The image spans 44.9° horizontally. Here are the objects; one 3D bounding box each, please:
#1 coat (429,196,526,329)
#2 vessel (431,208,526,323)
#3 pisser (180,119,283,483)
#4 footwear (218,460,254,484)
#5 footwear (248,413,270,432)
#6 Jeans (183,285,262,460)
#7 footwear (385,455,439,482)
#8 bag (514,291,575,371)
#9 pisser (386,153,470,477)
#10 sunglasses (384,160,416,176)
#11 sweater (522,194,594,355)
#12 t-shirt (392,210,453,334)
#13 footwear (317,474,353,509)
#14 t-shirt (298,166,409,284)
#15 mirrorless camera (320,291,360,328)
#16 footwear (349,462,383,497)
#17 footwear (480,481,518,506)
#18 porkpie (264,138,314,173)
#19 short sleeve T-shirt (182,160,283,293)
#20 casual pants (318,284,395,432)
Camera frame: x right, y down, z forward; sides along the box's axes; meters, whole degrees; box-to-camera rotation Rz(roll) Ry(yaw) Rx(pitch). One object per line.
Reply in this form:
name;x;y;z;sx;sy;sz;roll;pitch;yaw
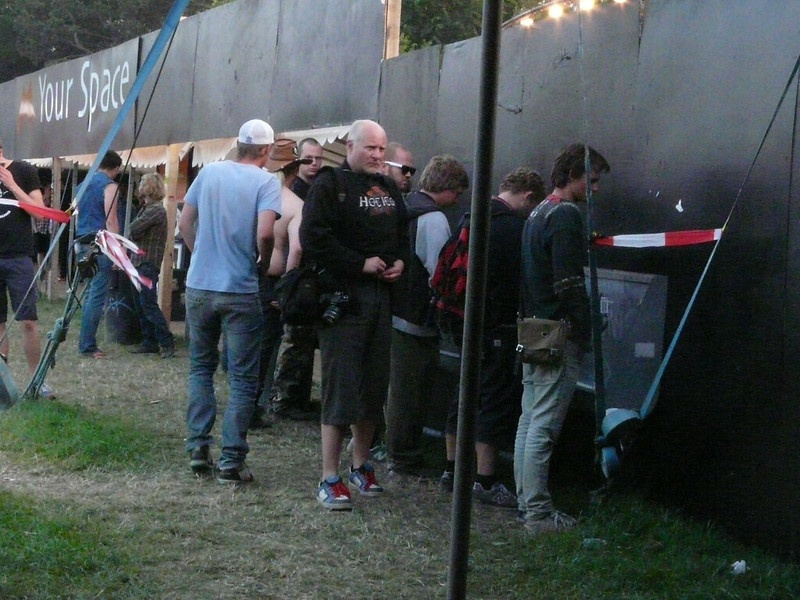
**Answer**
coat;0.454;-0.178;5.369;0.390;0.677;0.709;11;1;-16
vessel;0.469;-0.211;5.839;0.533;0.754;0.412;3;13;3
pisser;-1.032;-0.018;6.171;0.728;2.178;0.645;8;6;28
footwear;-0.997;1.058;5.924;0.089;0.104;0.242;4;0;43
footwear;-1.062;0.894;7.136;0.182;0.129;0.073;-6;10;-34
Jeans;-1.127;0.498;6.000;0.491;1.107;0.477;5;13;11
footwear;0.081;1.098;6.305;0.234;0.070;0.144;7;4;-5
bag;0.805;0.238;5.431;0.296;0.304;0.145;3;5;26
pisser;0.245;0.114;6.382;0.599;2.072;0.636;3;7;-5
sunglasses;0.005;-0.852;6.358;0.120;0.037;0.116;19;4;21
sweater;0.877;-0.159;5.442;0.201;0.792;0.491;-5;15;-31
t-shirt;0.147;-0.175;5.959;0.320;0.799;0.629;2;10;-12
footwear;-0.387;1.130;5.650;0.108;0.128;0.276;2;-4;-30
t-shirt;-0.255;-0.445;5.820;0.515;0.742;0.902;4;3;40
mirrorless camera;-0.343;0.048;5.523;0.180;0.121;0.194;-3;44;23
footwear;-0.168;1.095;5.868;0.105;0.140;0.305;-2;-4;-33
footwear;0.587;1.178;5.898;0.268;0.113;0.097;7;1;17
porkpie;-0.876;-1.069;7.283;0.383;0.210;0.280;-14;5;23
short sleeve T-shirt;-1.047;-0.433;5.974;0.593;0.771;0.355;2;13;-3
casual pants;-0.245;0.342;5.624;0.441;0.852;0.326;0;13;-11
